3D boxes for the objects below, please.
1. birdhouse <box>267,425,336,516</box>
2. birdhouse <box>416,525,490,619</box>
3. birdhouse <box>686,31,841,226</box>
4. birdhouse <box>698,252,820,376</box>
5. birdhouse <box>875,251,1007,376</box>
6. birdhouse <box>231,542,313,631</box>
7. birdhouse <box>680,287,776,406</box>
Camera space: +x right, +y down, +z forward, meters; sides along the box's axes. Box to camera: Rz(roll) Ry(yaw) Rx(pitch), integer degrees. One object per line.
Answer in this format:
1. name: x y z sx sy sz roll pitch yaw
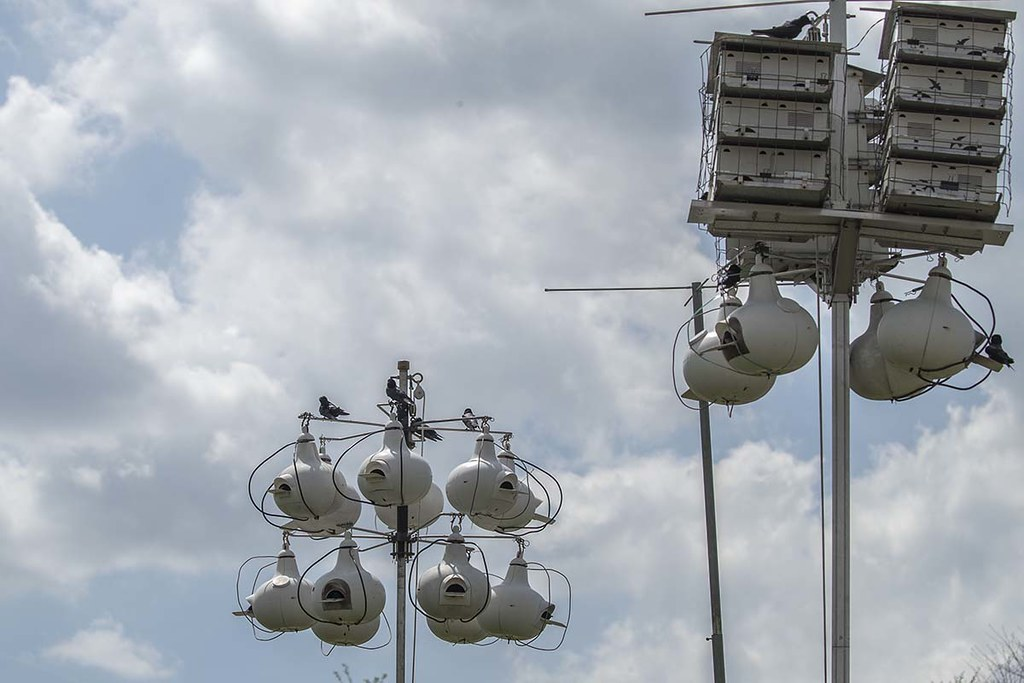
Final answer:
1. birdhouse: -3.641 2.487 48.800 1.165 1.838 0.863 15 -40 -16
2. birdhouse: -1.061 4.102 49.291 1.289 1.700 0.900 2 -38 -1
3. birdhouse: 4.513 -3.814 48.348 2.183 2.628 1.595 1 -39 1
4. birdhouse: 4.016 -0.305 44.931 1.662 2.274 1.729 -2 -17 -8
5. birdhouse: 6.483 -0.138 42.504 1.338 1.813 1.327 -9 -36 45
6. birdhouse: -4.159 4.426 50.021 1.232 1.597 0.912 -14 -41 18
7. birdhouse: 3.551 0.180 44.272 1.569 1.618 1.558 2 -19 0
